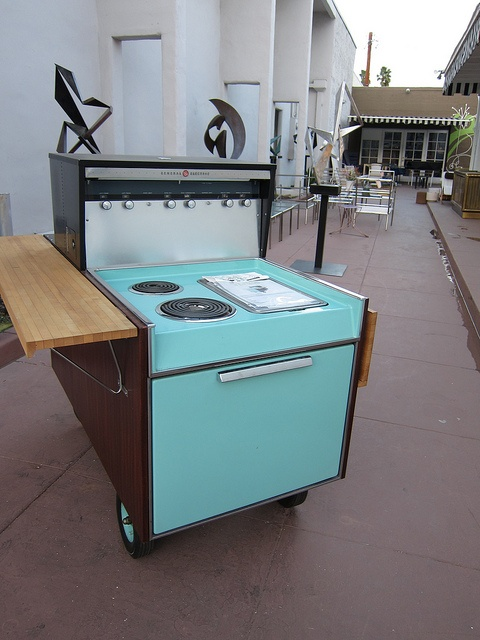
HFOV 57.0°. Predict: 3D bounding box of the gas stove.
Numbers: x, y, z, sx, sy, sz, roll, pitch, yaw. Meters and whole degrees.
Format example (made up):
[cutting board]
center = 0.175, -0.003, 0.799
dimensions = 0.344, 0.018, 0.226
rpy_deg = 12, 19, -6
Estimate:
[gas stove]
center = -0.063, -0.066, 1.467
dimensions = 0.735, 0.220, 0.746
rpy_deg = -3, 13, -30
